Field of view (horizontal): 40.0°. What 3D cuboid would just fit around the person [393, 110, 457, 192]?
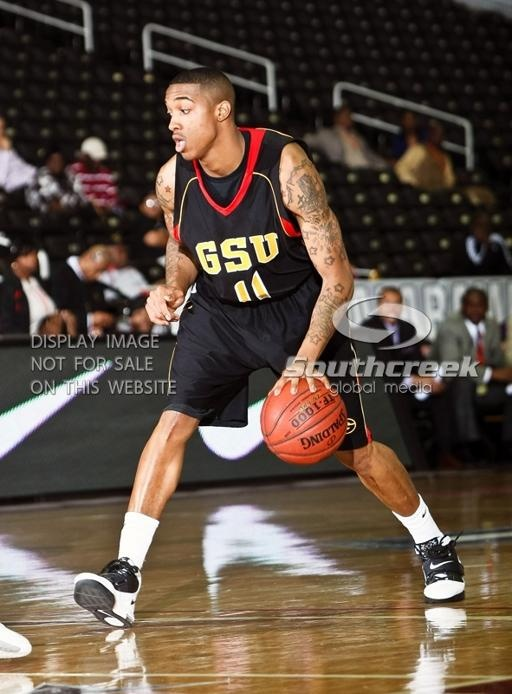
[{"bbox_3d":[2.192,-2.459,9.108,0.779,0.301,0.901,-17,87,-14],"label":"person"}]

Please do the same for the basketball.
[{"bbox_3d":[0.138,0.165,1.892,0.241,0.214,0.238,14,17,19],"label":"basketball"}]

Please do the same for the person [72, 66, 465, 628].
[{"bbox_3d":[0.111,-0.027,1.926,1.051,1.070,1.146,3,40,-21],"label":"person"}]
